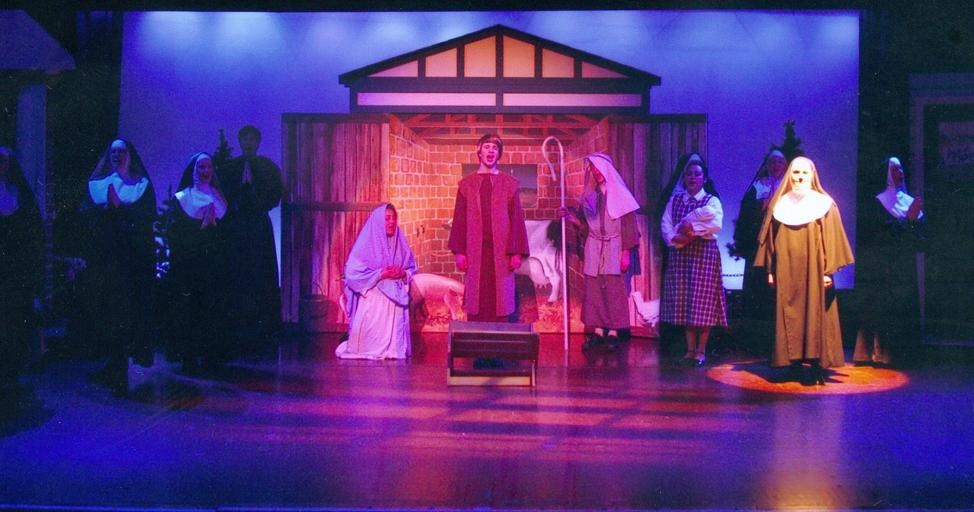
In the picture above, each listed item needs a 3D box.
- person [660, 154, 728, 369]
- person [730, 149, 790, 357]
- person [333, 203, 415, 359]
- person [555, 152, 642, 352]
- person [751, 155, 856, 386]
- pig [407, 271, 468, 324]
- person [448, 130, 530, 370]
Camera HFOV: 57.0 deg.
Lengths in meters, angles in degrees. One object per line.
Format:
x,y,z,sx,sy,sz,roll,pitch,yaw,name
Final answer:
2.689,0.016,11.832,0.985,2.529,0.917,4,-2,-45,person
3.698,-0.099,12.527,0.764,2.672,0.788,2,3,9,person
-1.462,0.330,11.950,1.001,2.055,0.373,0,1,-7,person
1.610,-0.088,12.278,0.912,2.608,0.410,0,1,11,person
3.981,0.120,11.322,1.193,2.634,0.840,1,2,32,person
-0.715,0.537,12.870,0.624,0.732,0.358,6,6,3,pig
0.027,-0.358,11.644,1.020,2.414,0.345,0,0,-1,person
